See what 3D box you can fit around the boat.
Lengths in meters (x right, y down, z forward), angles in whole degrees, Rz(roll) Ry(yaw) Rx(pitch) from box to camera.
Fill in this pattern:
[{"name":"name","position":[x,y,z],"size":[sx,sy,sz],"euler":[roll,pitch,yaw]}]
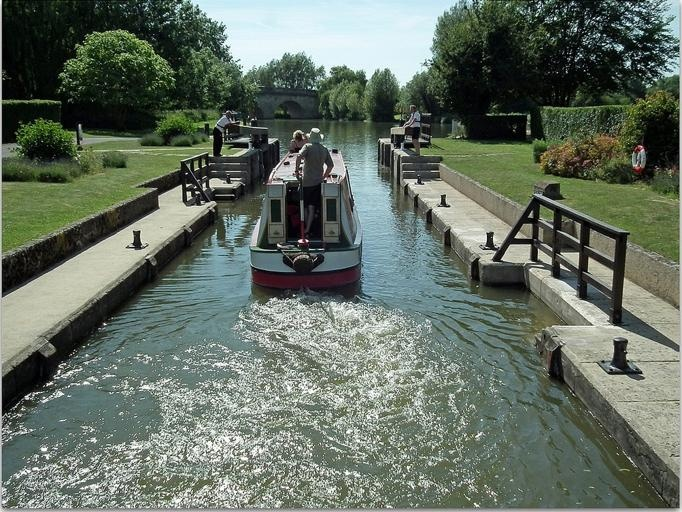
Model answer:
[{"name":"boat","position":[-0.821,-0.827,13.762],"size":[2.654,2.474,3.465],"euler":[1,16,0]}]

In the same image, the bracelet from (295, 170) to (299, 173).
[{"name":"bracelet","position":[-1.104,-2.140,13.533],"size":[0.093,0.103,0.024],"euler":[2,-25,11]}]
